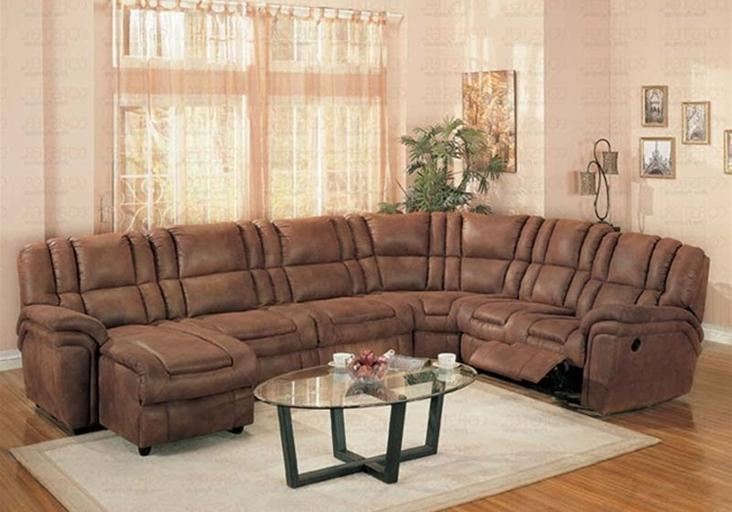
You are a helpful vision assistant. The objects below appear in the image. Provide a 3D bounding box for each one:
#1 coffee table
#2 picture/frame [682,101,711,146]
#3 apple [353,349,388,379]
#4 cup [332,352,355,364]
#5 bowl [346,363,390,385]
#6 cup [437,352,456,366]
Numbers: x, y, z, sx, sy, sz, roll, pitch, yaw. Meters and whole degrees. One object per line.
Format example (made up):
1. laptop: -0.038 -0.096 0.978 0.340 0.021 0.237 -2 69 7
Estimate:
1. coffee table: -0.024 1.146 4.377 1.505 0.530 0.964 -1 1 -33
2. picture/frame: 3.452 -1.374 6.872 0.259 0.441 0.089 2 13 22
3. apple: 0.023 0.731 4.382 0.179 0.102 0.220 -14 -33 22
4. cup: -0.162 0.731 4.587 0.124 0.046 0.106 1 0 -1
5. bowl: 0.022 0.786 4.394 0.188 0.072 0.152 0 -2 14
6. cup: 0.568 0.736 4.663 0.106 0.057 0.102 1 3 0
